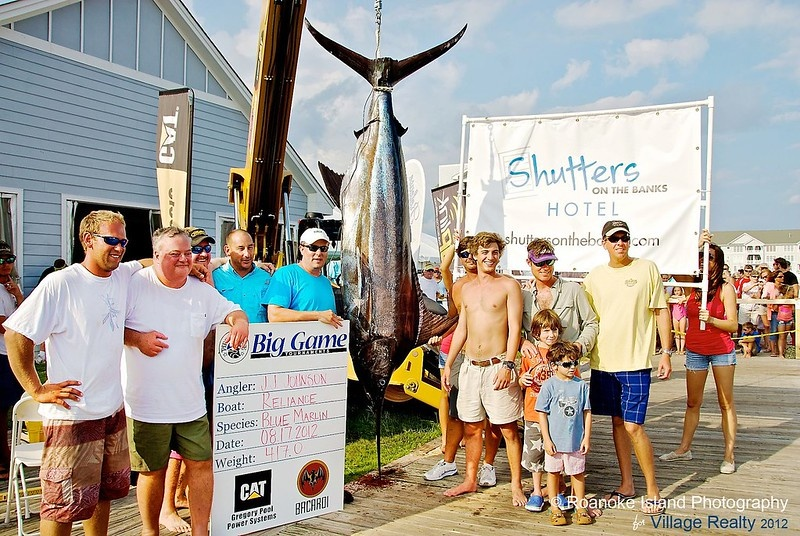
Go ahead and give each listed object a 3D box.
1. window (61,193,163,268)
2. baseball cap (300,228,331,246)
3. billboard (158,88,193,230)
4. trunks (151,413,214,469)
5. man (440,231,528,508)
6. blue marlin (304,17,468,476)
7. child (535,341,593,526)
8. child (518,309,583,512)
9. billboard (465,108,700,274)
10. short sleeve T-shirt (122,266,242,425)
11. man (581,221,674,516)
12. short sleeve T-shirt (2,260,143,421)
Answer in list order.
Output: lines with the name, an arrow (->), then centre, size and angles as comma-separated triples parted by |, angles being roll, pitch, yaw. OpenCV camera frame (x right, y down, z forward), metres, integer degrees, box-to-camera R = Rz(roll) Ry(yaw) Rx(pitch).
window -> -4.909, -0.594, 12.039 | 0.144, 1.047, 1.648 | -3, -3, 38
baseball cap -> -0.833, -0.308, 6.826 | 0.318, 0.163, 0.464 | 3, 2, -17
billboard -> -3.121, -1.551, 9.830 | 0.399, 1.920, 1.083 | -4, 7, -30
trunks -> -1.782, 1.432, 5.946 | 0.509, 0.507, 0.311 | 1, -15, 1
man -> 0.839, 0.955, 6.763 | 0.819, 2.615, 0.548 | 2, 5, 30
blue marlin -> -0.140, -0.270, 6.844 | 1.161, 4.258, 0.849 | 0, 6, 0
child -> 1.492, 1.487, 6.397 | 0.521, 1.602, 0.435 | -1, 6, -1
child -> 1.350, 1.303, 6.576 | 0.534, 1.915, 0.525 | -3, -1, 42
billboard -> 1.938, -0.748, 7.047 | 1.538, 1.176, 0.233 | 0, 2, 19
short sleeve T-shirt -> -1.857, 0.671, 5.881 | 1.244, 1.246, 0.583 | 5, -1, -44
man -> 2.045, 0.885, 6.643 | 0.855, 2.711, 0.821 | -1, -2, 40
short sleeve T-shirt -> -2.612, 0.627, 5.676 | 0.533, 1.397, 1.509 | -1, -3, 44
